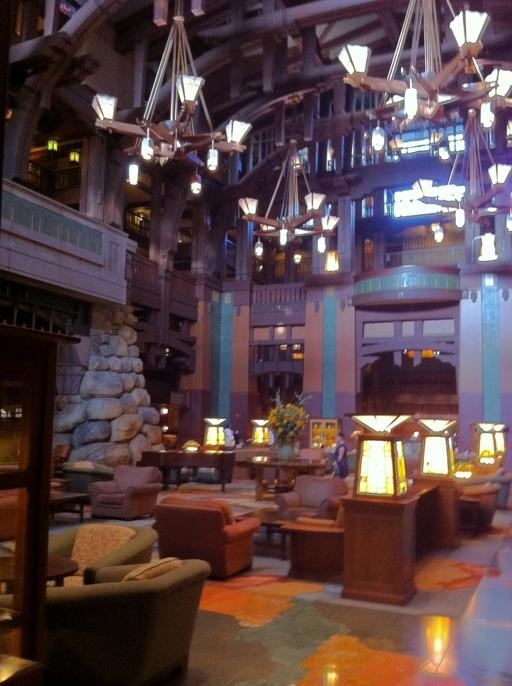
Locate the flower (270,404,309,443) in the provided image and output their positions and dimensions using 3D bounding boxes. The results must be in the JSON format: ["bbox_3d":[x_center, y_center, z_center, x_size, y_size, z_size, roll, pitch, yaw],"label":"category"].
[{"bbox_3d":[0.551,1.336,11.433,0.691,0.741,0.710,-3,4,-25],"label":"flower"}]

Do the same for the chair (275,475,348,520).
[{"bbox_3d":[0.702,2.112,8.526,0.838,0.804,0.673,-1,-9,18],"label":"chair"}]

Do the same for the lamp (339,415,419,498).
[{"bbox_3d":[1.184,1.088,6.293,0.641,0.746,0.630,3,-8,-10],"label":"lamp"}]

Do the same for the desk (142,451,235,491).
[{"bbox_3d":[-1.415,2.573,13.246,1.335,0.653,0.855,1,0,12],"label":"desk"}]

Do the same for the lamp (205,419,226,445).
[{"bbox_3d":[-0.960,2.013,14.902,0.393,0.553,0.628,-2,0,3],"label":"lamp"}]

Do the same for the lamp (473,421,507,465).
[{"bbox_3d":[4.632,1.978,13.117,0.719,0.859,0.709,0,0,-39],"label":"lamp"}]

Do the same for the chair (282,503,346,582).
[{"bbox_3d":[0.683,2.054,6.982,0.610,0.839,0.845,2,-7,14],"label":"chair"}]

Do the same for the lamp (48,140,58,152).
[{"bbox_3d":[-4.498,-4.348,14.414,0.183,0.340,0.184,-1,-8,8],"label":"lamp"}]

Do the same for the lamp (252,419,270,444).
[{"bbox_3d":[0.093,2.288,16.849,0.422,0.604,0.575,-2,0,-3],"label":"lamp"}]

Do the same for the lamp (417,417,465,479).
[{"bbox_3d":[2.352,1.422,8.787,0.751,0.801,0.737,3,-12,-24],"label":"lamp"}]

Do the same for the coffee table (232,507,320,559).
[{"bbox_3d":[0.125,2.275,7.823,0.788,0.394,0.799,-1,-2,24],"label":"coffee table"}]

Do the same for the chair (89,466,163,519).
[{"bbox_3d":[-2.066,2.355,10.399,0.999,0.762,1.032,-5,-9,43],"label":"chair"}]

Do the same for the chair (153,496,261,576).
[{"bbox_3d":[-0.520,1.969,6.739,0.891,0.758,0.717,-5,-8,23],"label":"chair"}]
